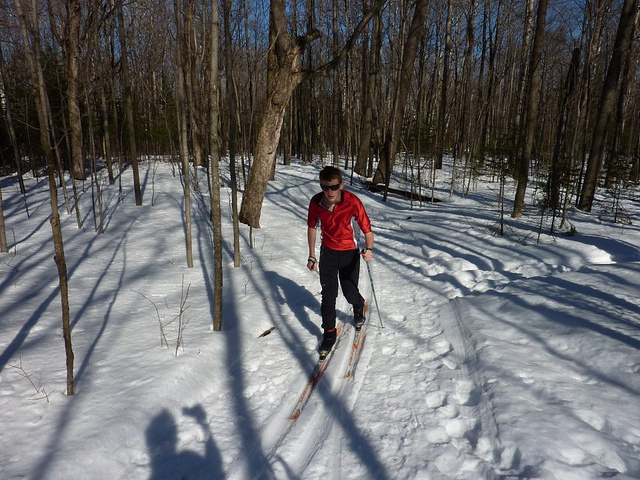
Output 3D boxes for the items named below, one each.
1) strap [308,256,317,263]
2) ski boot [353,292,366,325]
[{"bbox_3d":[-0.150,0.372,9.159,0.137,0.117,0.268,2,15,-3],"label":"strap"},{"bbox_3d":[0.798,1.380,9.508,0.184,0.457,0.629,-3,39,11],"label":"ski boot"}]
